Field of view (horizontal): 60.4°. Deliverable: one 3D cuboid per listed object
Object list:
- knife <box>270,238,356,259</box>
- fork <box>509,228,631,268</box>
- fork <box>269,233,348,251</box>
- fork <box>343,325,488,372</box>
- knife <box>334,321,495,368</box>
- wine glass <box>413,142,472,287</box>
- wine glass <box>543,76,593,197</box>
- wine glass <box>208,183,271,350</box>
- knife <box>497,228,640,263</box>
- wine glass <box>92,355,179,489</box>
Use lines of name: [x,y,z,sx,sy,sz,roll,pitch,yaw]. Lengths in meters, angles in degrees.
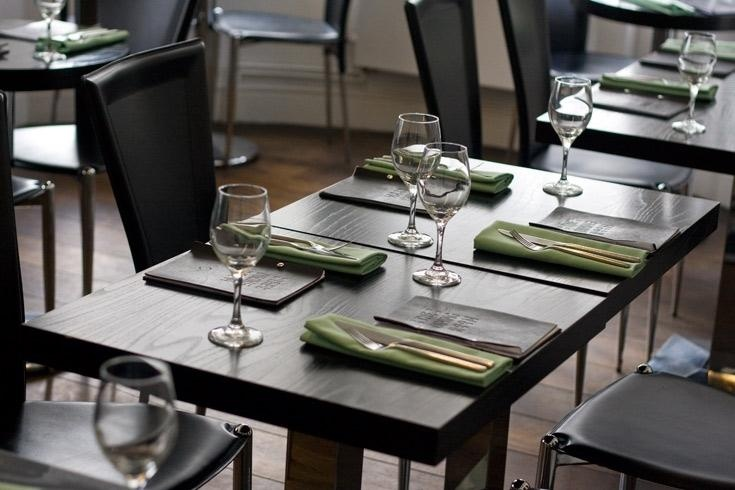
knife: [-0.116,0.003,1.228,0.181,0.019,0.053,11,18,4]
fork: [0.417,0.012,1.261,0.276,0.037,0.073,12,22,18]
fork: [-0.121,-0.006,1.261,0.109,0.011,0.015,11,37,-4]
fork: [0.048,0.146,0.962,0.261,0.022,0.071,12,16,25]
knife: [0.067,0.153,0.959,0.150,0.021,0.034,11,14,16]
wine glass: [0.139,-0.080,1.220,0.094,0.243,0.257,4,27,4]
wine glass: [0.516,-0.286,1.626,0.117,0.270,0.225,9,28,14]
wine glass: [-0.199,0.032,0.965,0.099,0.232,0.129,2,27,1]
knife: [0.389,-0.004,1.300,0.309,0.027,0.081,8,21,22]
wine glass: [-0.248,0.203,0.686,0.081,0.161,0.097,-8,29,-19]
